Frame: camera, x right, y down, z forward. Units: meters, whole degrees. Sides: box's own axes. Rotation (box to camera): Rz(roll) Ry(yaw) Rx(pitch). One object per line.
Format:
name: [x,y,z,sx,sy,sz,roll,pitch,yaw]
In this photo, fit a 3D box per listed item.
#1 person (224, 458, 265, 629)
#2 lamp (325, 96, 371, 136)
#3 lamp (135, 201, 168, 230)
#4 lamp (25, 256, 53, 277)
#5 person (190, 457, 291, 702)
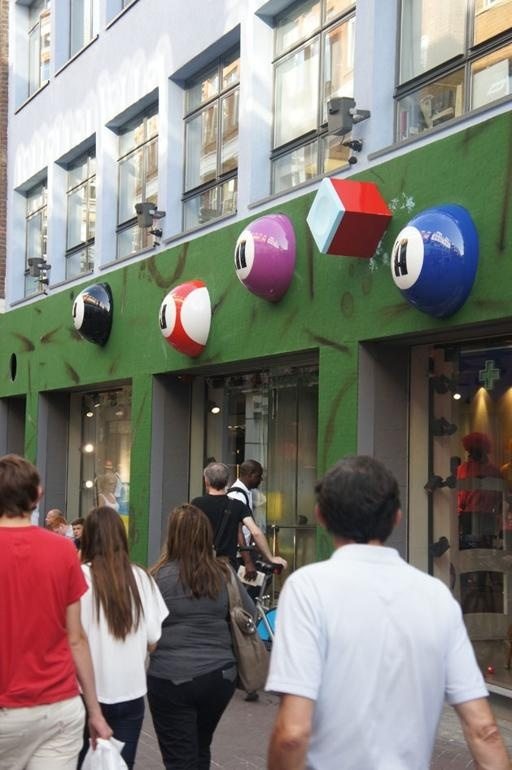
person: [-0.006,1.500,7.645,0.427,1.538,0.428,-5,15,-1]
lamp: [0.828,-2.422,6.948,0.310,0.328,0.312,0,-2,-25]
lamp: [-1.494,-2.348,10.903,0.399,0.421,0.315,6,-12,-32]
lamp: [-4.219,-2.310,14.931,0.409,0.247,0.522,-3,-2,-16]
person: [-0.057,1.490,6.688,0.457,1.646,0.879,-9,16,-22]
